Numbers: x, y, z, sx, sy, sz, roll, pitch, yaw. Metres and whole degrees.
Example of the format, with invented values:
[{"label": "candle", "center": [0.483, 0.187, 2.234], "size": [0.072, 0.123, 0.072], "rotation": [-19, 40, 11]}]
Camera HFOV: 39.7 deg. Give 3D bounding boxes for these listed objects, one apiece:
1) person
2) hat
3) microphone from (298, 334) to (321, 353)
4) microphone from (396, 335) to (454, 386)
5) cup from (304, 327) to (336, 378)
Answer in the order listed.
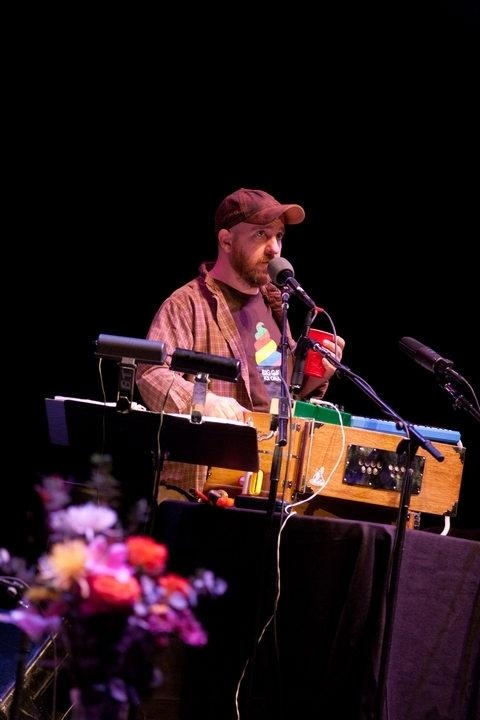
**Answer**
[{"label": "person", "center": [-0.017, -0.065, 2.650], "size": [0.728, 1.666, 0.557], "rotation": [20, -35, -28]}, {"label": "hat", "center": [0.058, -0.659, 2.968], "size": [0.310, 0.167, 0.209], "rotation": [-3, 3, 27]}, {"label": "microphone", "center": [0.217, -0.045, 2.136], "size": [0.073, 0.046, 0.061], "rotation": [12, 11, 5]}, {"label": "microphone", "center": [0.600, -0.003, 2.190], "size": [0.080, 0.103, 0.308], "rotation": [35, 7, -25]}, {"label": "cup", "center": [0.267, -0.019, 2.245], "size": [0.103, 0.162, 0.113], "rotation": [18, -15, 5]}]
